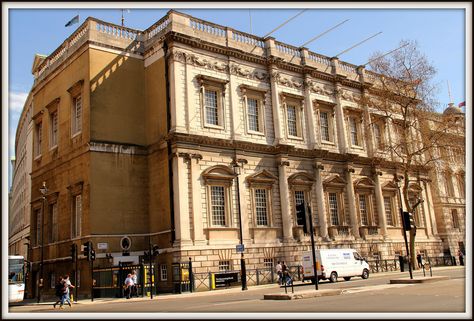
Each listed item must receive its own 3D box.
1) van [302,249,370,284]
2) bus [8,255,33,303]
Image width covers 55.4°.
[{"bbox_3d":[9.037,9.859,40.786,7.538,3.315,3.168,5,-10,-36],"label":"van"},{"bbox_3d":[-19.796,10.591,40.587,1.329,3.990,1.458,-2,-19,-11],"label":"bus"}]
